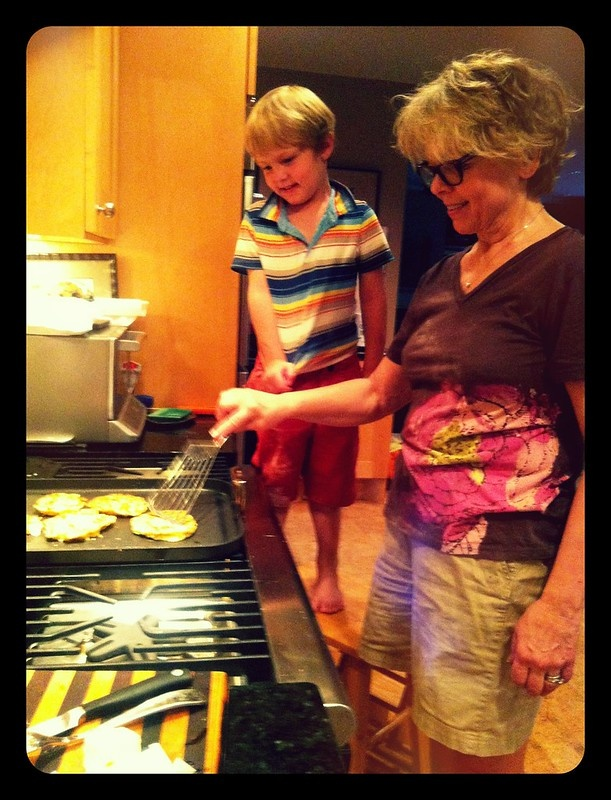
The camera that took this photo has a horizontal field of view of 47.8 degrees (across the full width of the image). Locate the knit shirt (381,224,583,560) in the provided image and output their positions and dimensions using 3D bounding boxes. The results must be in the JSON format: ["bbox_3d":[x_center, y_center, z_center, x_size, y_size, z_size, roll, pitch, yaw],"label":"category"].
[{"bbox_3d":[0.170,0.001,0.654,0.045,0.310,0.206,-7,12,-37],"label":"knit shirt"}]

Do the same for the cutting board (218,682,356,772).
[{"bbox_3d":[-0.017,0.227,0.479,0.081,0.028,0.068,0,8,-3],"label":"cutting board"}]

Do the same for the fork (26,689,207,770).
[{"bbox_3d":[-0.121,0.211,0.484,0.138,0.015,0.039,-9,17,-32],"label":"fork"}]

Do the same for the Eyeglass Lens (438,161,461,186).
[{"bbox_3d":[0.131,-0.204,0.617,0.021,0.008,0.021,2,2,33],"label":"Eyeglass Lens"}]

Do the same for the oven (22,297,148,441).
[{"bbox_3d":[-0.443,-0.058,1.495,0.238,0.200,0.426,4,11,-3],"label":"oven"}]

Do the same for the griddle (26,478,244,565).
[{"bbox_3d":[-0.181,0.138,0.887,0.214,0.017,0.209,15,14,3],"label":"griddle"}]
